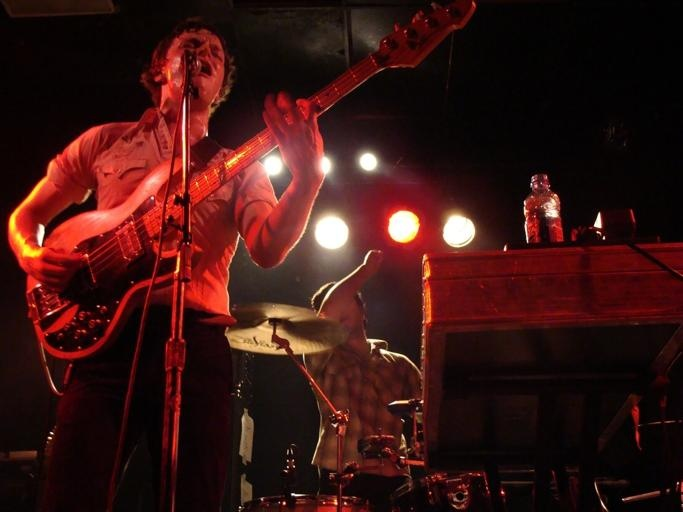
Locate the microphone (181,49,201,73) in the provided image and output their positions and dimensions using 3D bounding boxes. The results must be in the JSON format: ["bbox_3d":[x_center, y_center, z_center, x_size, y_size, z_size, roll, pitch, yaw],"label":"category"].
[{"bbox_3d":[-0.653,-0.839,3.421,0.068,0.109,0.033,-7,-6,-30],"label":"microphone"}]
